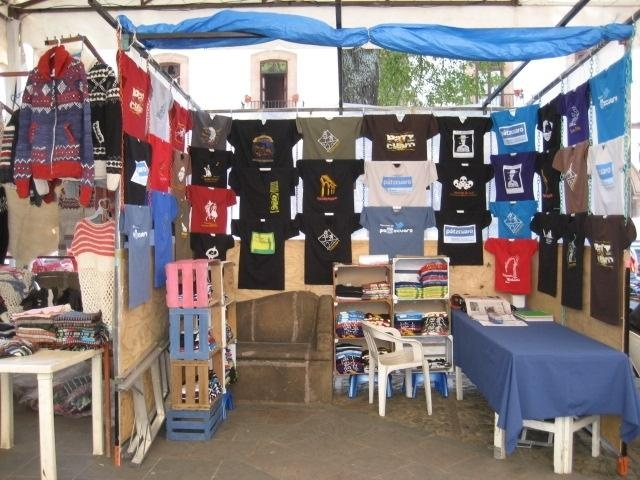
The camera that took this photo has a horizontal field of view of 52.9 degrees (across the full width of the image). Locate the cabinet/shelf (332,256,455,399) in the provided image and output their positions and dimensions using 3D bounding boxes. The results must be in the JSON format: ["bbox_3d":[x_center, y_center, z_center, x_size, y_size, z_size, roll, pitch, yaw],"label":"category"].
[{"bbox_3d":[0.882,1.108,7.824,1.371,1.851,0.551,0,-4,-2],"label":"cabinet/shelf"}]

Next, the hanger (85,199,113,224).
[{"bbox_3d":[-2.494,-0.329,7.277,0.309,0.244,0.017,2,-2,-34],"label":"hanger"}]

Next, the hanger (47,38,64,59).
[{"bbox_3d":[-2.625,-1.931,6.322,0.163,0.122,0.343,-1,0,-27],"label":"hanger"}]

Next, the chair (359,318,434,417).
[{"bbox_3d":[0.899,1.435,7.417,0.775,1.072,0.761,-8,7,-40],"label":"chair"}]
